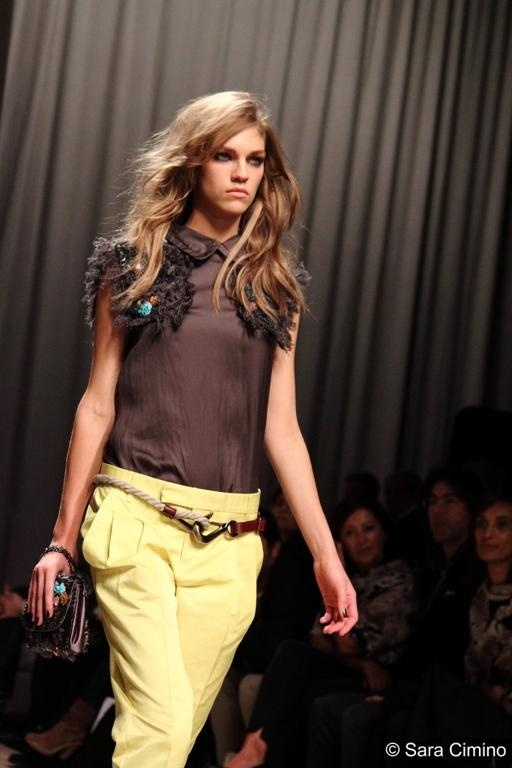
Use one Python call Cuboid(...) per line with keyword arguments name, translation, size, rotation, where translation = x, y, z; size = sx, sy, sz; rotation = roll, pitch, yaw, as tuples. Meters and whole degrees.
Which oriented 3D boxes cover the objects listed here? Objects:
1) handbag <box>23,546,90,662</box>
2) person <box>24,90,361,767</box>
Cuboid(name="handbag", translation=(-0.300, 0.347, 1.095), size=(0.113, 0.138, 0.077), rotation=(-12, -23, 33))
Cuboid(name="person", translation=(-0.100, 0.014, 1.151), size=(0.521, 1.024, 0.328), rotation=(-4, 0, -43))
